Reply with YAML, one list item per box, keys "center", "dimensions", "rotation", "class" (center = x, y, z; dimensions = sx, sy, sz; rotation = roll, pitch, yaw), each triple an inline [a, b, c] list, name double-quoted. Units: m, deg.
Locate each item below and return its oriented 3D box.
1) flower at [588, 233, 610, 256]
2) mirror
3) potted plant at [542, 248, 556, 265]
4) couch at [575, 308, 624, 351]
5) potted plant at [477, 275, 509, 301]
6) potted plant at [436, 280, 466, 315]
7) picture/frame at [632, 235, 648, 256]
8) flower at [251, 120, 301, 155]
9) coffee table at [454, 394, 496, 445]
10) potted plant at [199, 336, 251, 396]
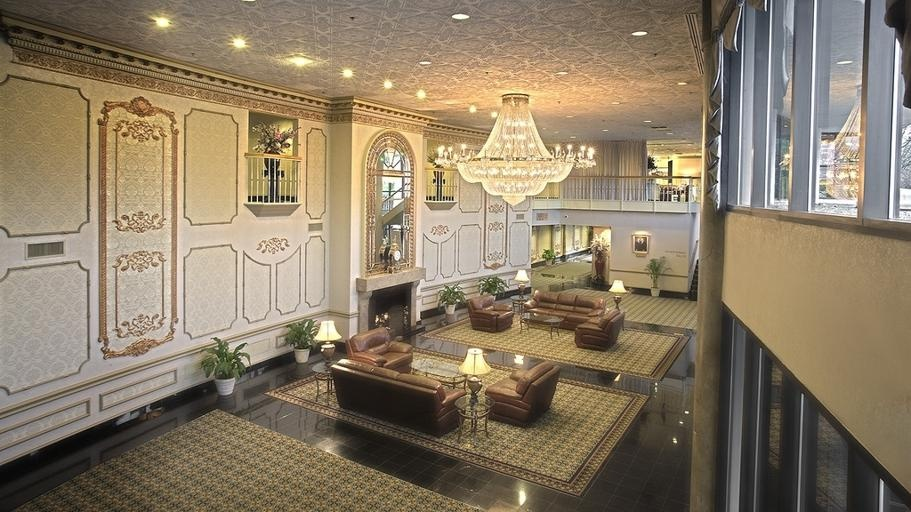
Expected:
- center: [6.609, -0.492, 24.044]
  dimensions: [0.646, 0.893, 1.582]
  rotation: [2, 8, 9]
  class: "flower"
- center: [-1.754, -1.413, 13.947]
  dimensions: [0.370, 3.656, 1.825]
  rotation: [5, 10, 29]
  class: "mirror"
- center: [4.997, 0.049, 28.355]
  dimensions: [0.887, 0.688, 0.895]
  rotation: [6, 7, 45]
  class: "potted plant"
- center: [3.921, 1.950, 14.214]
  dimensions: [1.046, 0.896, 1.471]
  rotation: [1, 7, 33]
  class: "couch"
- center: [1.350, 1.034, 18.186]
  dimensions: [0.914, 0.571, 0.890]
  rotation: [-8, 11, -41]
  class: "potted plant"
- center: [-0.102, 1.323, 16.896]
  dimensions: [1.040, 0.775, 0.841]
  rotation: [-4, 7, -28]
  class: "potted plant"
- center: [7.480, -0.454, 21.201]
  dimensions: [0.915, 0.921, 0.138]
  rotation: [1, 0, 37]
  class: "picture/frame"
- center: [-4.143, -2.668, 11.991]
  dimensions: [0.949, 0.811, 1.255]
  rotation: [-2, 8, -17]
  class: "flower"
- center: [0.377, 3.000, 9.975]
  dimensions: [0.856, 0.705, 0.800]
  rotation: [-2, 3, -21]
  class: "coffee table"
- center: [-4.951, 2.264, 11.417]
  dimensions: [1.232, 1.027, 1.138]
  rotation: [-3, 6, -24]
  class: "potted plant"
